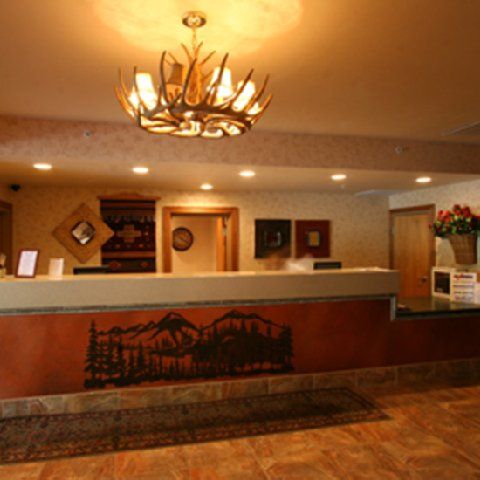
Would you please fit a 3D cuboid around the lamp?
[{"bbox_3d":[-0.248,-0.874,2.485,0.837,0.551,1.042,1,5,3],"label":"lamp"}]
